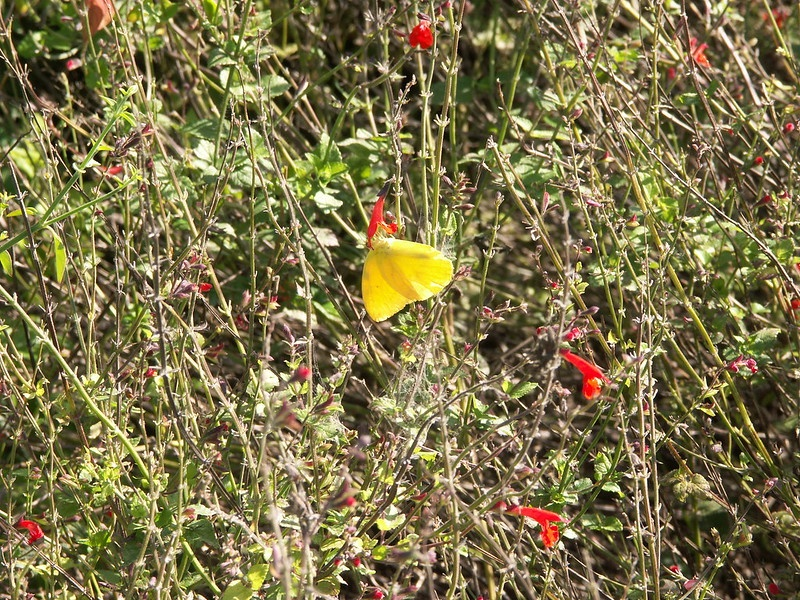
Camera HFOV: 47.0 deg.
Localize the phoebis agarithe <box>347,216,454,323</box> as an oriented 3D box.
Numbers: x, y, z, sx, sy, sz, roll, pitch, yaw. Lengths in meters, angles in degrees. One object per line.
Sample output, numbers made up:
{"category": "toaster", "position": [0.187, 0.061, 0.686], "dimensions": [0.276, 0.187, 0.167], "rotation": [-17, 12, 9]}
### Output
{"category": "phoebis agarithe", "position": [0.001, -0.078, 2.892], "dimensions": [0.149, 0.272, 0.278], "rotation": [-16, 75, -47]}
